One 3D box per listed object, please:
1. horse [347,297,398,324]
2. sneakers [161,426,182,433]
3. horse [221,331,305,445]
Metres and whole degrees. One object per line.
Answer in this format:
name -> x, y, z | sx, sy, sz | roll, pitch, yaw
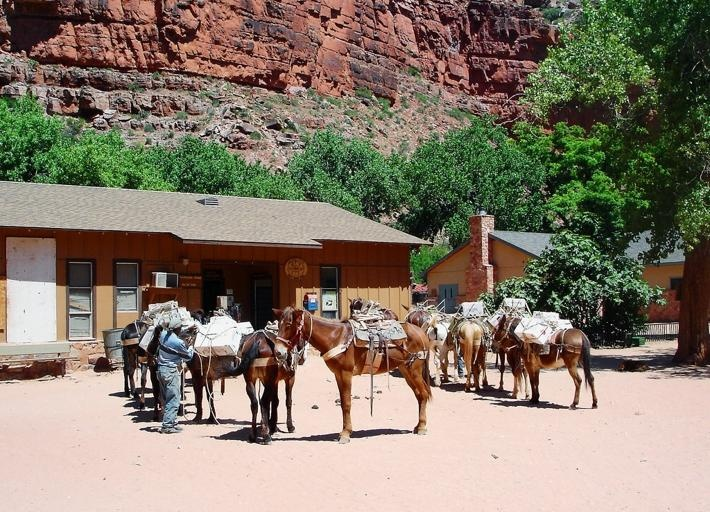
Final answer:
horse -> 0.324, 1.459, 22.245 | 0.878, 0.434, 0.725 | 3, 0, 15
sneakers -> -4.750, 4.477, 21.843 | 0.554, 0.289, 0.198 | 0, 2, -8
horse -> -2.220, 3.287, 21.436 | 1.313, 2.806, 1.952 | -4, 6, -36
